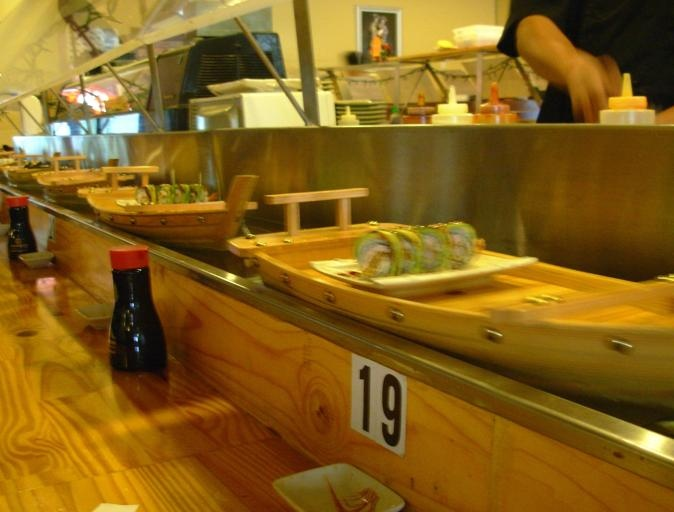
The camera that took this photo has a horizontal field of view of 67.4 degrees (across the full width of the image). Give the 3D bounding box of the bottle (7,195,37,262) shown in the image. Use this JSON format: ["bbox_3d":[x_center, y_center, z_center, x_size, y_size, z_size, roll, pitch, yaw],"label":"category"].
[{"bbox_3d":[-1.246,-0.112,1.974,0.099,0.241,0.309,-10,14,-29],"label":"bottle"}]

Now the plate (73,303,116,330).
[{"bbox_3d":[-0.583,0.133,1.226,0.069,0.019,0.094,-5,16,-28],"label":"plate"}]

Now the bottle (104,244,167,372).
[{"bbox_3d":[-0.393,0.100,0.962,0.109,0.236,0.075,-6,13,-12],"label":"bottle"}]
